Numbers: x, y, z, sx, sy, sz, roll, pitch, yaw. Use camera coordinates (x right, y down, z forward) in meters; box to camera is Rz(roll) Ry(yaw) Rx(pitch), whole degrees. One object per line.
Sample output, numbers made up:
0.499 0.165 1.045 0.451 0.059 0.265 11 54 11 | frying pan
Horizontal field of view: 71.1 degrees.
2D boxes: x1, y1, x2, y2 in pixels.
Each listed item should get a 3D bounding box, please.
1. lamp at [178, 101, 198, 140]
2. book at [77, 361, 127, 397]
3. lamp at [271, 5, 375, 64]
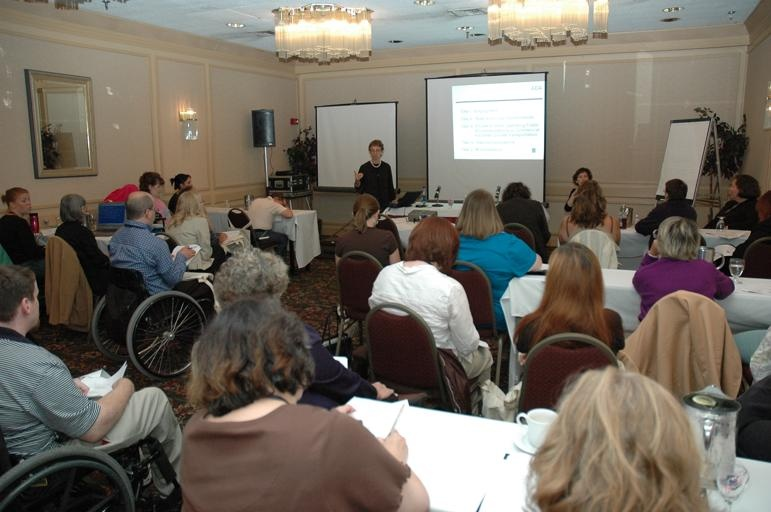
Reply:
-2.950 -2.035 8.195 0.146 0.551 0.363 5 15 30 | lamp
-1.518 0.676 2.882 0.166 0.110 0.227 13 5 28 | book
-0.698 -2.392 5.808 0.748 0.359 0.707 -5 19 -16 | lamp
